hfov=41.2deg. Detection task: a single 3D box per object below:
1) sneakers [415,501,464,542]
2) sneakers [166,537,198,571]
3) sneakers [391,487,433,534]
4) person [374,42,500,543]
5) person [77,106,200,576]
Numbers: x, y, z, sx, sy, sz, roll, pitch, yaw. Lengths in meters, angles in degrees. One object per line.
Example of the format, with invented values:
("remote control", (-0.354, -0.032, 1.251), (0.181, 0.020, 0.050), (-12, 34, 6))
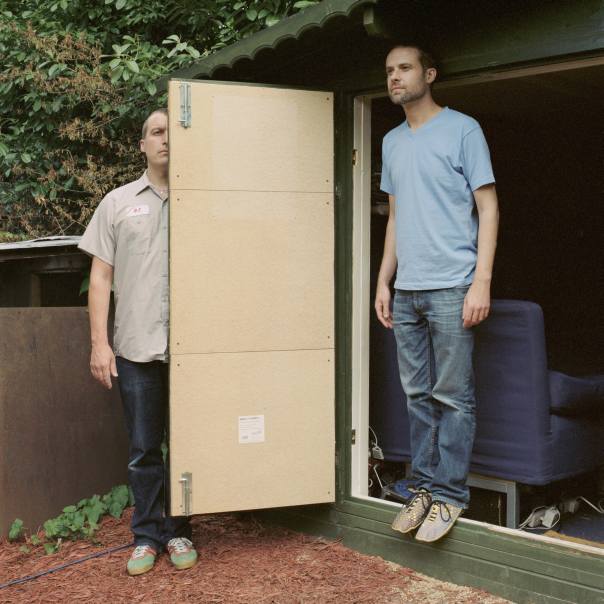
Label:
("sneakers", (0.572, 0.910, 3.305), (0.061, 0.179, 0.071), (29, -16, 36))
("sneakers", (-0.507, 1.094, 3.476), (0.073, 0.062, 0.150), (-3, 7, -24))
("sneakers", (0.484, 0.871, 3.413), (0.094, 0.099, 0.256), (12, 51, 40))
("person", (0.537, -0.016, 3.356), (0.600, 2.066, 0.425), (3, 10, 33))
("person", (-0.730, 0.162, 3.496), (0.412, 1.993, 0.488), (-4, 8, -12))
